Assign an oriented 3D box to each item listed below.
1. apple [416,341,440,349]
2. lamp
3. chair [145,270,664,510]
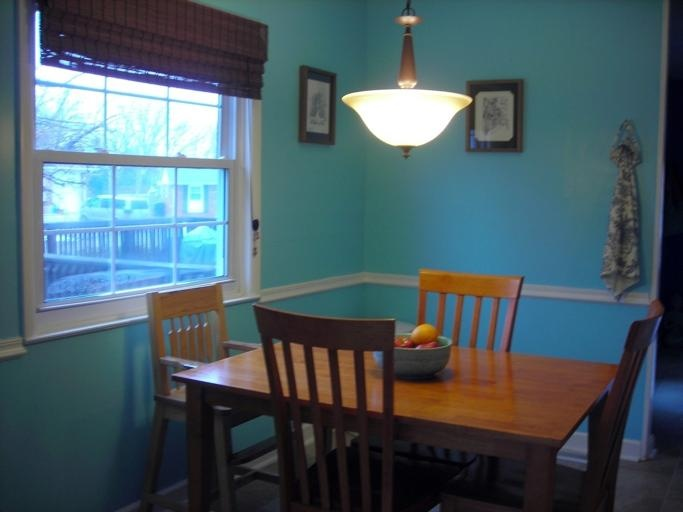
[{"bbox_3d":[0.339,0.344,2.164,0.063,0.022,0.034,-14,4,-15],"label":"apple"},{"bbox_3d":[0.256,-0.692,2.198,0.382,0.592,0.368,-6,9,-42],"label":"lamp"},{"bbox_3d":[0.308,0.589,2.232,1.727,0.850,0.832,2,7,19],"label":"chair"}]
